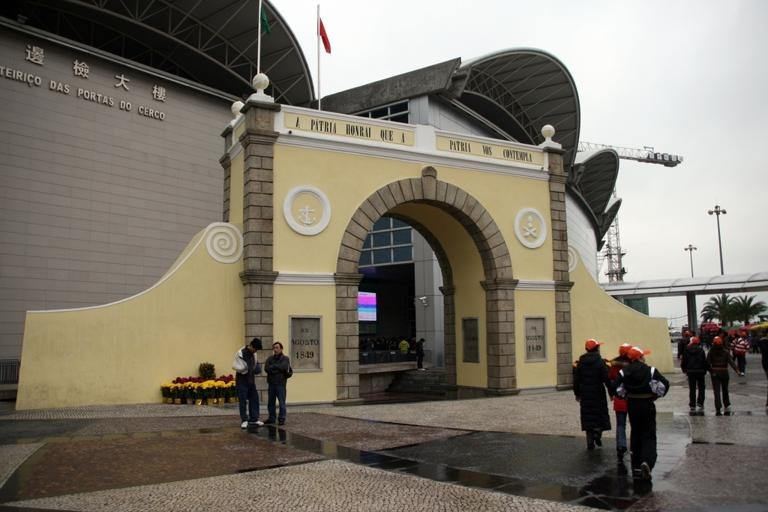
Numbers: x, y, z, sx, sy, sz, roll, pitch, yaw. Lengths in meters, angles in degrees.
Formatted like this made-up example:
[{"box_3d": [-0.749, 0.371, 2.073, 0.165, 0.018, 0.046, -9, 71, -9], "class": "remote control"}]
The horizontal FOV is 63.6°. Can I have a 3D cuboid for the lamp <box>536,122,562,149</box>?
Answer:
[{"box_3d": [7.111, -5.137, 26.827, 0.787, 1.092, 1.161, 0, 0, 24], "class": "lamp"}]

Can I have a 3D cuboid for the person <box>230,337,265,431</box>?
[{"box_3d": [-3.815, 3.560, 17.515, 0.700, 2.492, 0.882, -8, -10, 32], "class": "person"}]

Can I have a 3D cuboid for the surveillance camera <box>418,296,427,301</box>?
[{"box_3d": [2.219, 2.454, 35.982, 0.303, 0.098, 0.233, -9, 4, 8], "class": "surveillance camera"}]

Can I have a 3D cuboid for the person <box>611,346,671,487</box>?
[{"box_3d": [5.560, 3.341, 13.512, 1.020, 2.677, 1.089, 1, -5, -19], "class": "person"}]

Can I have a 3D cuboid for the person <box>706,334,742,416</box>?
[{"box_3d": [10.313, 3.703, 19.259, 1.130, 2.724, 0.932, -3, 1, -6], "class": "person"}]

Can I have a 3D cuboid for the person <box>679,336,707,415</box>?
[{"box_3d": [9.792, 3.743, 19.688, 0.733, 2.270, 0.814, 0, -10, 23], "class": "person"}]
